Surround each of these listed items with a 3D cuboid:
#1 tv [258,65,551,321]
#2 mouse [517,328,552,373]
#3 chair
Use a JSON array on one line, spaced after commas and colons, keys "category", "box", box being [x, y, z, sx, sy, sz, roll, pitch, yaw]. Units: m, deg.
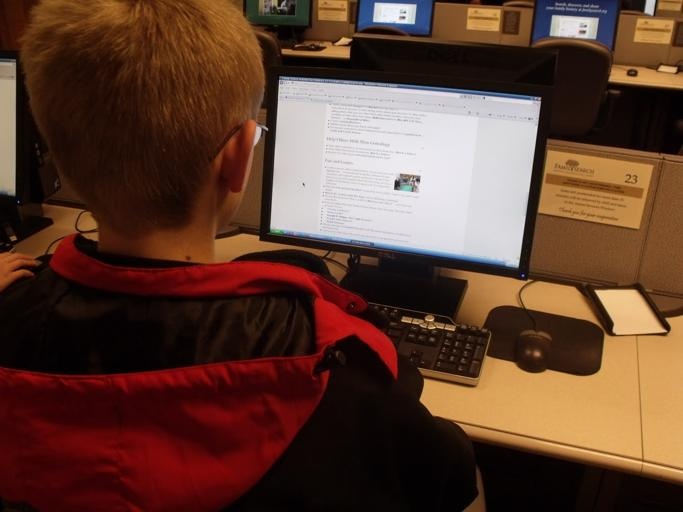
[{"category": "tv", "box": [0.132, -0.149, 1.206, 0.478, 0.386, 0.200, 9, 30, 10]}, {"category": "mouse", "box": [0.404, 0.188, 1.198, 0.073, 0.044, 0.132, 10, 26, 25]}, {"category": "chair", "box": [1.247, -0.921, 3.139, 0.365, 0.542, 0.494, 8, 13, 17]}]
